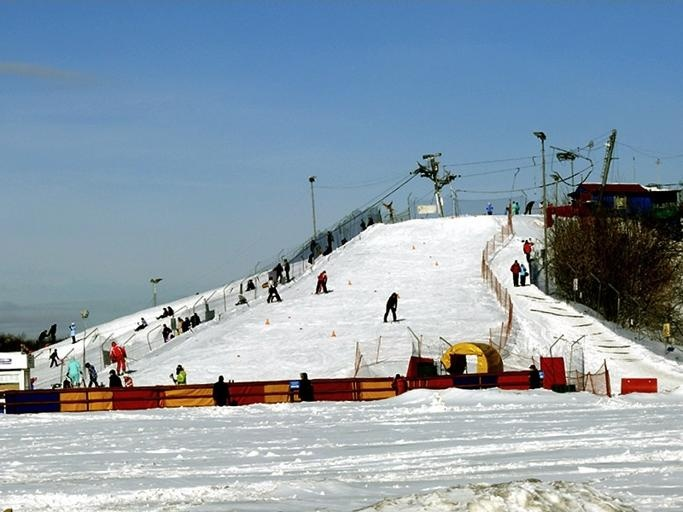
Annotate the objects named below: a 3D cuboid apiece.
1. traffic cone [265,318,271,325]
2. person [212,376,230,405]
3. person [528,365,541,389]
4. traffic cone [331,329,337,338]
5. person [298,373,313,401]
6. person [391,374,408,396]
[{"bbox_3d":[-3.499,3.112,56.339,0.237,0.244,0.229,4,0,4],"label":"traffic cone"},{"bbox_3d":[-4.039,4.472,39.691,0.479,0.934,0.557,-3,5,-11],"label":"person"},{"bbox_3d":[6.734,4.171,41.266,0.338,0.748,0.409,-1,5,10],"label":"person"},{"bbox_3d":[-0.356,3.482,53.411,0.235,0.248,0.232,1,1,19],"label":"traffic cone"},{"bbox_3d":[-1.196,4.418,40.459,0.489,0.939,0.517,-2,5,-3],"label":"person"},{"bbox_3d":[1.969,4.469,41.251,0.605,0.803,0.592,1,-9,-18],"label":"person"}]
